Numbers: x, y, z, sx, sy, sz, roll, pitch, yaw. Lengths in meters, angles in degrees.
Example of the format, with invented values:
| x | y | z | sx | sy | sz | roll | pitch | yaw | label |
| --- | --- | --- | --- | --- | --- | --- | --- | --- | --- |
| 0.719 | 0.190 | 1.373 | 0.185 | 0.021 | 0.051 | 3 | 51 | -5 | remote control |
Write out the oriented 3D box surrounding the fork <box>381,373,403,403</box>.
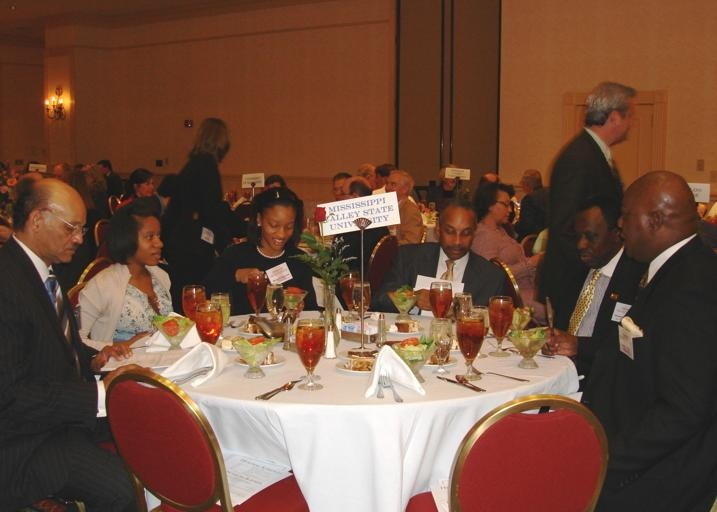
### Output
| x | y | z | sx | sy | sz | roll | pitch | yaw | label |
| --- | --- | --- | --- | --- | --- | --- | --- | --- | --- |
| 0.132 | 0.523 | 2.403 | 0.032 | 0.030 | 0.200 | -9 | 34 | -4 | fork |

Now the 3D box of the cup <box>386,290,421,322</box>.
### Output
| x | y | z | sx | sy | sz | roll | pitch | yaw | label |
| --- | --- | --- | --- | --- | --- | --- | --- | --- | --- |
| 0.244 | 0.257 | 3.244 | 0.153 | 0.132 | 0.146 | 0 | 3 | 0 | cup |

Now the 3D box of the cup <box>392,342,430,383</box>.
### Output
| x | y | z | sx | sy | sz | roll | pitch | yaw | label |
| --- | --- | --- | --- | --- | --- | --- | --- | --- | --- |
| 0.216 | 0.427 | 2.502 | 0.149 | 0.139 | 0.150 | -2 | -5 | 0 | cup |

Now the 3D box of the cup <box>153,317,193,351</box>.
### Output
| x | y | z | sx | sy | sz | roll | pitch | yaw | label |
| --- | --- | --- | --- | --- | --- | --- | --- | --- | --- |
| -0.895 | 0.366 | 2.954 | 0.142 | 0.119 | 0.160 | 1 | 2 | 26 | cup |

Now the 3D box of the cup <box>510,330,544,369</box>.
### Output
| x | y | z | sx | sy | sz | roll | pitch | yaw | label |
| --- | --- | --- | --- | --- | --- | --- | --- | --- | --- |
| 0.783 | 0.433 | 2.827 | 0.146 | 0.136 | 0.159 | -1 | -2 | 0 | cup |

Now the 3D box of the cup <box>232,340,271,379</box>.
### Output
| x | y | z | sx | sy | sz | roll | pitch | yaw | label |
| --- | --- | --- | --- | --- | --- | --- | --- | --- | --- |
| -0.466 | 0.439 | 2.645 | 0.147 | 0.155 | 0.156 | 0 | -2 | 0 | cup |

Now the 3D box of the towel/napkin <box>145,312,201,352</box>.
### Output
| x | y | z | sx | sy | sz | roll | pitch | yaw | label |
| --- | --- | --- | --- | --- | --- | --- | --- | --- | --- |
| -0.905 | 0.389 | 2.973 | 0.173 | 0.108 | 0.196 | 1 | 6 | -2 | towel/napkin |

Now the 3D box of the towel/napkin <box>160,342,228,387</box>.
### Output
| x | y | z | sx | sy | sz | roll | pitch | yaw | label |
| --- | --- | --- | --- | --- | --- | --- | --- | --- | --- |
| -0.687 | 0.471 | 2.573 | 0.168 | 0.098 | 0.216 | 12 | 25 | 23 | towel/napkin |

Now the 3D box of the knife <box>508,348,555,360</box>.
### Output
| x | y | z | sx | sy | sz | roll | pitch | yaw | label |
| --- | --- | --- | --- | --- | --- | --- | --- | --- | --- |
| 0.830 | 0.462 | 2.850 | 0.095 | 0.027 | 0.102 | 0 | 2 | -2 | knife |

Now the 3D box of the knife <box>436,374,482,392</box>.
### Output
| x | y | z | sx | sy | sz | roll | pitch | yaw | label |
| --- | --- | --- | --- | --- | --- | --- | --- | --- | --- |
| 0.422 | 0.516 | 2.511 | 0.187 | 0.022 | 0.057 | 3 | 34 | 42 | knife |

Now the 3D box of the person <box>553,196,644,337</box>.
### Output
| x | y | z | sx | sy | sz | roll | pitch | yaw | label |
| --- | --- | --- | --- | --- | --- | --- | --- | --- | --- |
| 1.307 | 0.039 | 3.270 | 0.207 | 0.774 | 0.726 | 16 | -1 | -3 | person |

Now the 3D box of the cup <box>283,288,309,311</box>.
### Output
| x | y | z | sx | sy | sz | roll | pitch | yaw | label |
| --- | --- | --- | --- | --- | --- | --- | --- | --- | --- |
| -0.337 | 0.238 | 3.224 | 0.113 | 0.104 | 0.126 | 0 | 3 | -15 | cup |

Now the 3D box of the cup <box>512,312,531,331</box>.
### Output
| x | y | z | sx | sy | sz | roll | pitch | yaw | label |
| --- | --- | --- | --- | --- | --- | --- | --- | --- | --- |
| 0.806 | 0.311 | 3.029 | 0.100 | 0.080 | 0.099 | -1 | 8 | 0 | cup |
